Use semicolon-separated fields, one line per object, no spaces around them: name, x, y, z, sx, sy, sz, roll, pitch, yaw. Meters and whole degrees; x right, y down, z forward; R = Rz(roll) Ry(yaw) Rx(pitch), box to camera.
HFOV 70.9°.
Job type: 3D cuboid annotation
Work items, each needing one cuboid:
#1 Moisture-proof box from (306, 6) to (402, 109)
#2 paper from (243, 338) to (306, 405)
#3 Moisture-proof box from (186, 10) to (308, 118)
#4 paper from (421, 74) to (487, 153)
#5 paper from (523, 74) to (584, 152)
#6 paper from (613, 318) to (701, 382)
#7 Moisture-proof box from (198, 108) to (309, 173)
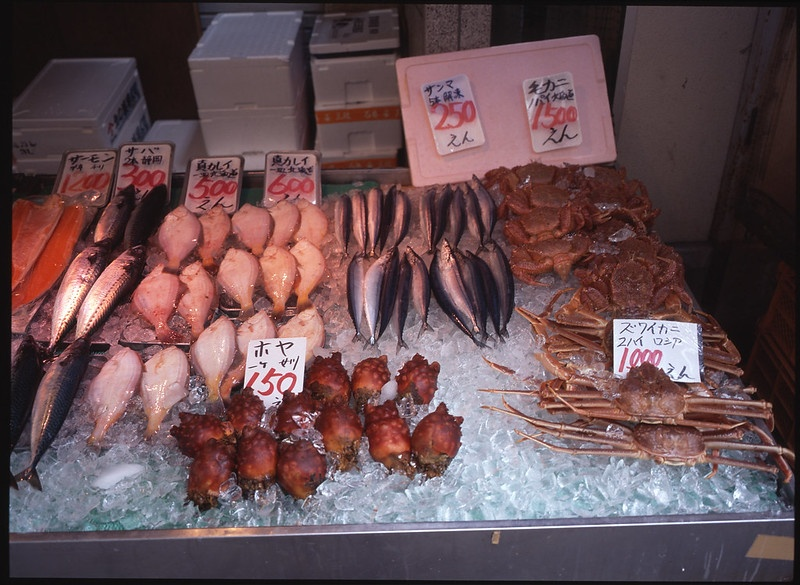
Moisture-proof box;-0.346;-1.878;4.528;0.696;0.487;0.733;-5;41;1
paper;-0.553;0.362;2.489;0.296;0.039;0.361;0;52;-2
Moisture-proof box;-1.167;-1.836;4.439;0.789;0.484;0.903;-6;41;0
paper;0.309;-1.026;3.273;0.331;0.355;0.222;-7;40;-1
paper;0.881;-1.058;3.254;0.316;0.462;0.049;-12;8;1
paper;1.097;0.249;2.401;0.370;0.152;0.225;1;42;8
Moisture-proof box;-1.151;-1.232;4.348;0.684;0.462;0.712;-1;26;1
